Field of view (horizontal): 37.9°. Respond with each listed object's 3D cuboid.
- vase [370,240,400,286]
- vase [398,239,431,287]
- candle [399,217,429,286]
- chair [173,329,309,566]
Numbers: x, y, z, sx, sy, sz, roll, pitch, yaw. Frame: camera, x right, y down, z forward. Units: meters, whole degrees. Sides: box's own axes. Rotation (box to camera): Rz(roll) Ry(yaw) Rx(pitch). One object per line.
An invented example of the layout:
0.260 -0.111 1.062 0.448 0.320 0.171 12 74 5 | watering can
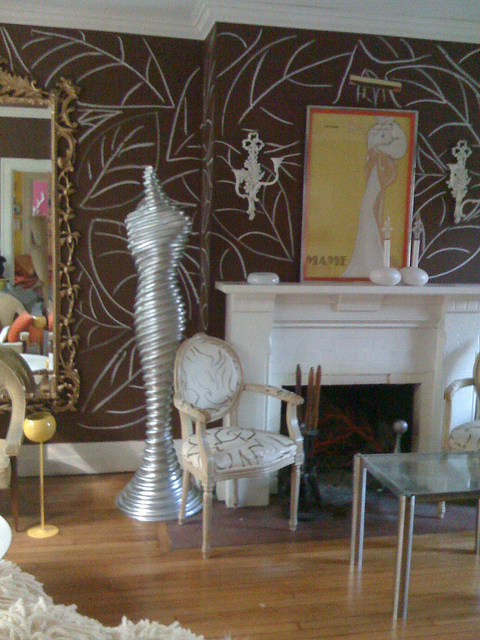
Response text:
0.706 -0.284 3.406 0.138 0.218 0.223 4 11 6 | vase
0.866 -0.287 3.451 0.159 0.223 0.301 5 11 14 | vase
0.867 -0.343 3.460 0.132 0.325 0.216 5 12 10 | candle
0.017 0.498 3.098 0.622 0.809 0.924 2 11 -2 | chair
